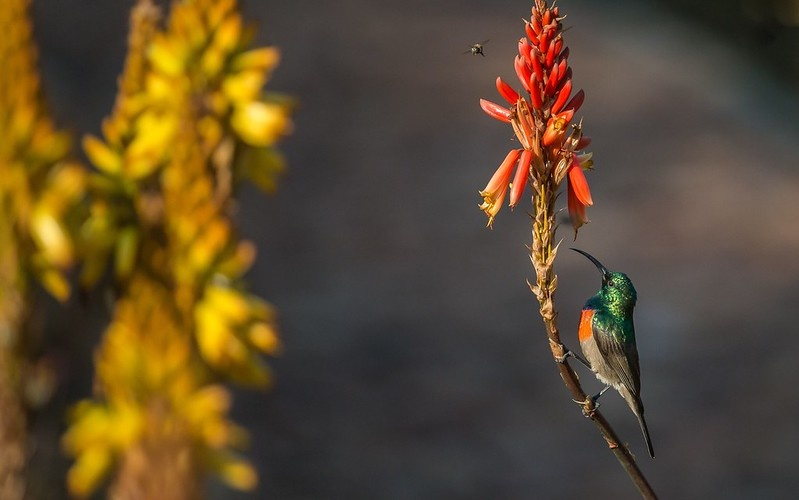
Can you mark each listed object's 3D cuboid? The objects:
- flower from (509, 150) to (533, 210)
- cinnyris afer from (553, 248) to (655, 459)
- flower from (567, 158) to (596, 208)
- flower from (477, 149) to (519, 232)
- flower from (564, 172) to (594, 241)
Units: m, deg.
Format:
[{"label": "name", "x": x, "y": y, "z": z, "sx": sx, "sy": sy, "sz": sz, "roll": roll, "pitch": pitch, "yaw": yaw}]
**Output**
[{"label": "flower", "x": 0.219, "y": -0.130, "z": 1.974, "sx": 0.029, "sy": 0.128, "sz": 0.028, "roll": 14, "pitch": 35, "yaw": 10}, {"label": "cinnyris afer", "x": 0.422, "y": 0.204, "z": 2.120, "sx": 0.176, "sy": 0.400, "sz": 0.071, "roll": 6, "pitch": 1, "yaw": 10}, {"label": "flower", "x": 0.338, "y": -0.119, "z": 2.009, "sx": 0.044, "sy": 0.050, "sz": 0.164, "roll": 1, "pitch": 34, "yaw": 4}, {"label": "flower", "x": 0.173, "y": -0.100, "z": 1.839, "sx": 0.042, "sy": 0.157, "sz": 0.063, "roll": 27, "pitch": 15, "yaw": 15}, {"label": "flower", "x": 0.296, "y": -0.078, "z": 1.805, "sx": 0.026, "sy": 0.134, "sz": 0.031, "roll": -5, "pitch": 4, "yaw": 0}]
